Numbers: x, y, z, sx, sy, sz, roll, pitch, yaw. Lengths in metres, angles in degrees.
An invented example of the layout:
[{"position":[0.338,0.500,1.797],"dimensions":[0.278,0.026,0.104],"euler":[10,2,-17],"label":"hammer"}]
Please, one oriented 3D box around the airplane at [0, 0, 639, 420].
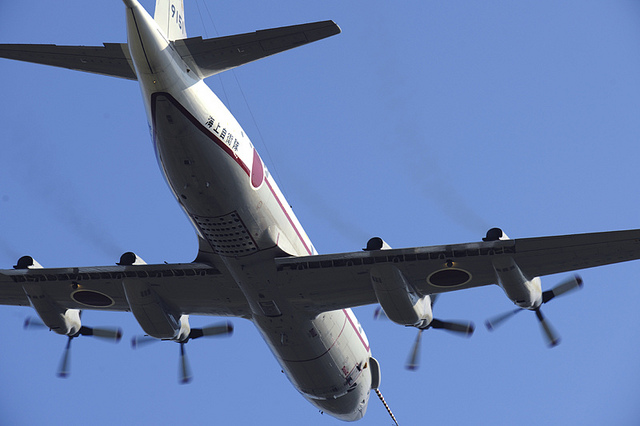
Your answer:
[{"position":[-1.692,1.080,30.009],"dimensions":[19.873,5.282,14.361],"euler":[-5,-40,14],"label":"airplane"}]
